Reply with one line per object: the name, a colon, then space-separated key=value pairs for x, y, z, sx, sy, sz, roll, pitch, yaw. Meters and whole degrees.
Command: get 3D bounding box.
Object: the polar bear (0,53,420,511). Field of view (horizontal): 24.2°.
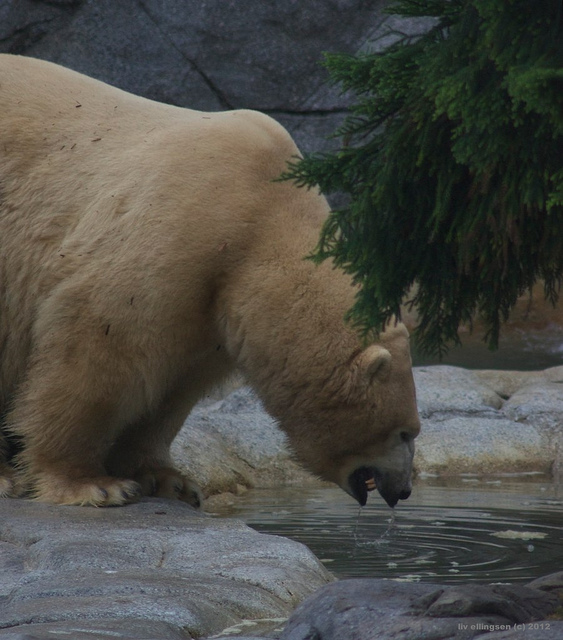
polar bear: x=-0.413 y=-0.014 z=6.251 sx=1.831 sy=2.045 sz=1.942 roll=-6 pitch=41 yaw=16
